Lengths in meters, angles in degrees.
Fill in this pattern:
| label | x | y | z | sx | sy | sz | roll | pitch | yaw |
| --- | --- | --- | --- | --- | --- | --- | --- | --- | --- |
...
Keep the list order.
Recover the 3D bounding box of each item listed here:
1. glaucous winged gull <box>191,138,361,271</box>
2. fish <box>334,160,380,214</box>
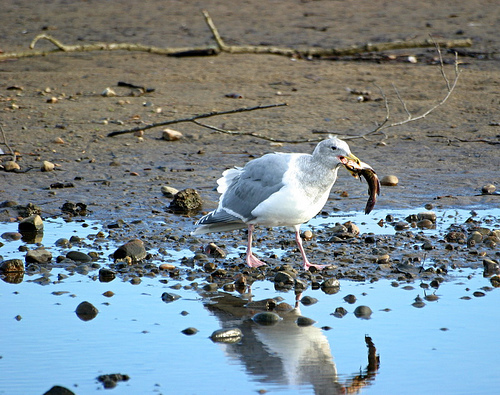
| label | x | y | z | sx | sy | sz | roll | pitch | yaw |
| --- | --- | --- | --- | --- | --- | --- | --- | --- | --- |
| glaucous winged gull | 0.365 | 0.042 | 10.032 | 1.769 | 1.869 | 1.070 | 16 | 34 | 15 |
| fish | 1.516 | -0.180 | 10.219 | 0.573 | 0.286 | 0.886 | 11 | 49 | 3 |
